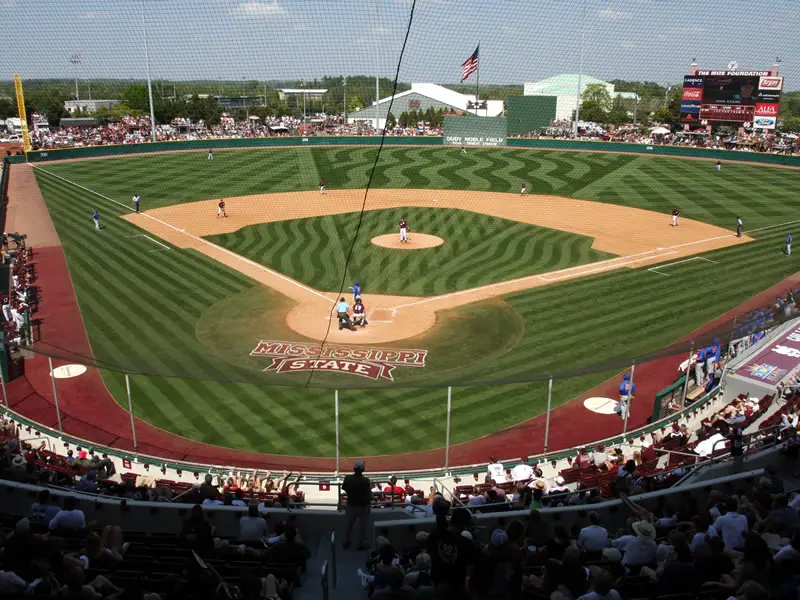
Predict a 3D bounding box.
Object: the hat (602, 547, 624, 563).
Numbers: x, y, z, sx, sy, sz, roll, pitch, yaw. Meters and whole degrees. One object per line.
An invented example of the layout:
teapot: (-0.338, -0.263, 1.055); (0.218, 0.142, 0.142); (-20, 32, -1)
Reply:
hat: (3.195, 3.810, 12.497); (0.281, 0.115, 0.269); (-25, 33, -36)

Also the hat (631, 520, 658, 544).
hat: (3.872, 3.631, 13.136); (0.409, 0.103, 0.311); (-5, 44, -9)
